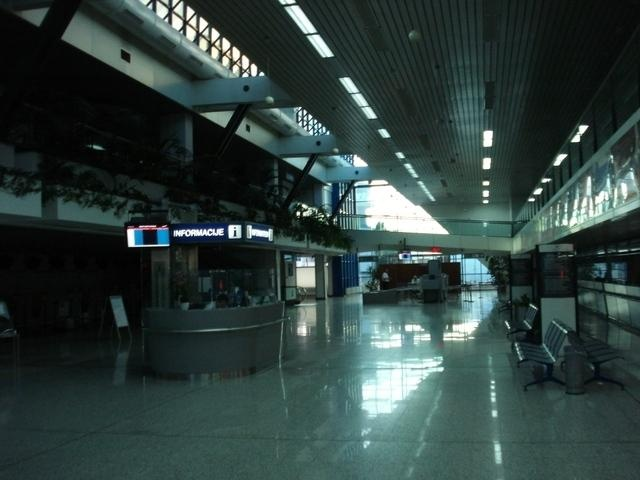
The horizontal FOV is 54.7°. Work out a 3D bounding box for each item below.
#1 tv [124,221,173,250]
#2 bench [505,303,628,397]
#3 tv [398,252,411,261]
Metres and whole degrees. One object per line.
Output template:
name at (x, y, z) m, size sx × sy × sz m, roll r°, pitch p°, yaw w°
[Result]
tv at (-3.816, -0.110, 13.775) m, size 0.972 × 0.465 × 0.232 m, roll -2°, pitch 1°, yaw 11°
bench at (4.475, 1.982, 11.305) m, size 1.601 × 1.047 × 2.185 m, roll -1°, pitch 1°, yaw 13°
tv at (6.086, 1.092, 42.595) m, size 0.792 × 0.713 × 1.245 m, roll 5°, pitch -1°, yaw -1°
